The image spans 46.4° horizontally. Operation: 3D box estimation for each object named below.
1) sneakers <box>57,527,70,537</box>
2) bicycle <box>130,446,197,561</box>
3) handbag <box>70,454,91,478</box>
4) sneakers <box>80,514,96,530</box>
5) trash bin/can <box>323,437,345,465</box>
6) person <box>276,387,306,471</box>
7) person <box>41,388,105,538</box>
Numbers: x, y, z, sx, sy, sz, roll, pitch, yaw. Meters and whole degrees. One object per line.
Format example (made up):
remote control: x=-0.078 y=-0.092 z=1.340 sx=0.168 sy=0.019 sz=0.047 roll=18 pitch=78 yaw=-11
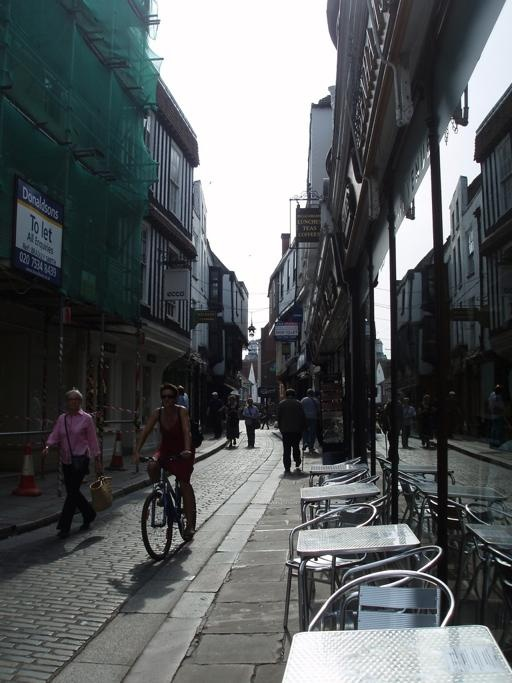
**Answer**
sneakers: x=-2.334 y=2.308 z=7.283 sx=0.071 sy=0.154 sz=0.180 roll=1 pitch=-16 yaw=9
bicycle: x=-0.914 y=1.795 z=6.683 sx=0.421 sy=1.042 sz=1.395 roll=-7 pitch=-9 yaw=14
handbag: x=-2.231 y=1.559 z=7.613 sx=0.083 sy=0.322 sz=0.172 roll=-4 pitch=-6 yaw=44
sneakers: x=-2.247 y=2.398 z=7.917 sx=0.086 sy=0.300 sz=0.339 roll=-3 pitch=-13 yaw=9
trash bin/can: x=1.660 y=2.335 z=12.638 sx=0.412 sy=0.665 sz=0.380 roll=-1 pitch=-8 yaw=-1
person: x=0.863 y=1.937 z=14.087 sx=0.433 sy=2.130 sz=0.522 roll=1 pitch=23 yaw=8
person: x=-2.348 y=1.507 z=7.714 sx=0.670 sy=1.860 sz=0.850 roll=1 pitch=-7 yaw=-23
